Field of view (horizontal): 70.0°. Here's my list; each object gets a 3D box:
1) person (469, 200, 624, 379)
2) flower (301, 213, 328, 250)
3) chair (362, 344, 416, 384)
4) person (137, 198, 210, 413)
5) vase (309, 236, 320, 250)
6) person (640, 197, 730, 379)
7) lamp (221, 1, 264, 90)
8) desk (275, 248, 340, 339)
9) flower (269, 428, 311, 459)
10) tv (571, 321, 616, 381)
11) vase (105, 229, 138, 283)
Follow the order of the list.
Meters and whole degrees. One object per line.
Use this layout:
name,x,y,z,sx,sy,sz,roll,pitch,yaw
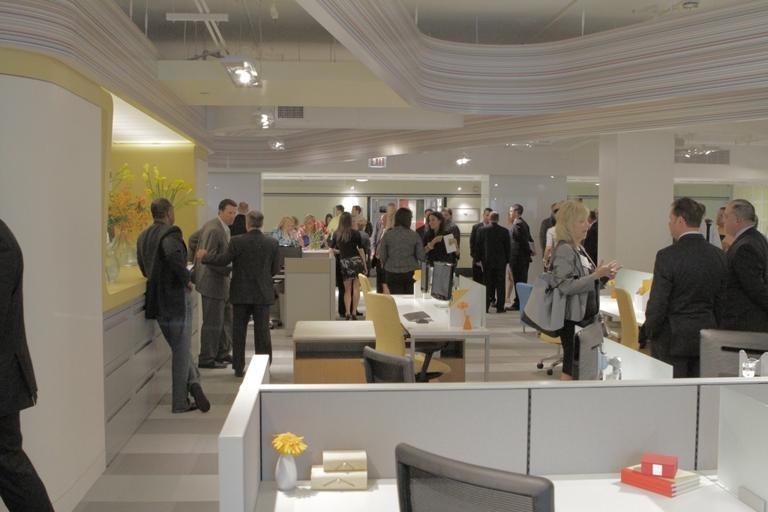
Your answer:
person,1.655,0.327,4.976,0.807,1.648,0.398,-2,5,-8
flower,-1.496,-0.468,11.463,0.595,0.831,0.592,-1,-1,-18
chair,0.042,0.813,3.963,0.319,0.387,0.269,0,2,-39
person,-2.254,0.690,5.911,0.627,2.061,0.487,-3,5,-24
vase,-1.422,-0.262,11.215,0.224,0.385,0.280,0,8,-10
person,2.544,0.282,4.683,0.646,1.552,0.413,1,5,19
lamp,-1.419,-1.934,5.515,0.323,0.394,0.593,-2,4,-11
desk,-1.403,0.609,10.316,1.119,1.629,1.664,1,0,-1
flower,-0.506,1.034,2.955,0.193,0.148,0.143,-2,4,-10
tv,1.363,0.641,3.613,0.216,0.350,0.462,1,5,27
vase,-2.820,-0.018,5.934,0.259,0.515,0.975,-3,5,-24
